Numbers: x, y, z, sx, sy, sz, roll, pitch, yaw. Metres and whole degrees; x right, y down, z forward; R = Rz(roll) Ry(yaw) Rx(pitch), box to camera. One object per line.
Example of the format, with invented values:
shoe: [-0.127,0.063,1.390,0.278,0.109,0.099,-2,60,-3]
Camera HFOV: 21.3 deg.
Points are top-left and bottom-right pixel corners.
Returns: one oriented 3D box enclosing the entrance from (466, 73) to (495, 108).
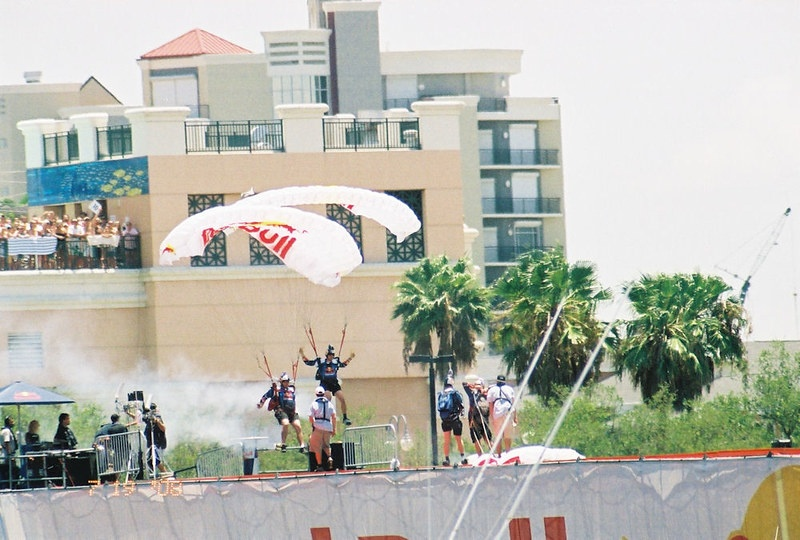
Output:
entrance: [4.760,-9.749,120.932,1.532,2.341,1.625,-4,-12,19]

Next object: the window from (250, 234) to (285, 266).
window: [-5.702,-0.808,90.275,1.210,1.319,0.066,1,4,-2]

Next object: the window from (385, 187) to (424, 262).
window: [0.130,-1.948,94.887,1.752,3.663,0.189,-1,23,4]

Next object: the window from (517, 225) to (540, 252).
window: [7.117,-1.650,119.659,1.756,2.074,0.115,1,-4,-13]

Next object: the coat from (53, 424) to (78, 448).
coat: [-12.679,6.391,79.924,0.963,1.379,0.732,0,4,-1]

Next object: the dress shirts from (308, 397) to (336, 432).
dress shirts: [-2.864,5.330,79.651,0.949,1.186,0.627,2,19,1]

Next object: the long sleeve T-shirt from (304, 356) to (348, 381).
long sleeve T-shirt: [-3.096,3.999,85.973,1.382,0.664,0.326,0,1,2]

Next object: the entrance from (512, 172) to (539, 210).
entrance: [7.059,-4.416,121.831,2.008,2.710,0.369,-1,0,-42]

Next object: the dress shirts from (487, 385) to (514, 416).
dress shirts: [3.727,4.913,79.515,1.068,1.166,0.619,0,2,9]

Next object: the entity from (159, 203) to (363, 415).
entity: [-6.431,1.787,90.751,8.273,2.940,6.739,14,-20,-20]

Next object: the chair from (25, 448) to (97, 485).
chair: [-12.605,7.434,79.421,1.716,1.178,1.726,-2,-2,41]
